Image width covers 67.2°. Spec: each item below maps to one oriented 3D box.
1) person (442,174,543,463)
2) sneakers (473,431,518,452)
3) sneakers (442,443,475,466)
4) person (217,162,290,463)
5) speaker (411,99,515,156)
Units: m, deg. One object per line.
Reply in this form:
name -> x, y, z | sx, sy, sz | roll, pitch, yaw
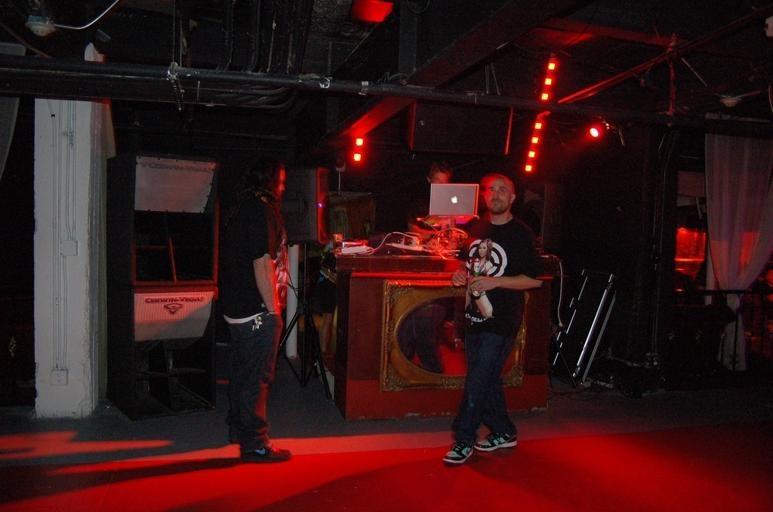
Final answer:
person -> 0.981, 0.545, 5.421 | 0.838, 2.618, 0.573 | 1, 4, -4
sneakers -> 1.032, 1.750, 5.533 | 0.410, 0.175, 0.159 | 3, -8, -15
sneakers -> 0.640, 1.784, 5.257 | 0.328, 0.128, 0.121 | 4, -5, -38
person -> -1.177, 0.480, 5.225 | 0.599, 2.683, 0.379 | 0, 4, -16
speaker -> 0.821, -1.422, 6.480 | 1.128, 0.513, 0.239 | 0, 4, -9
